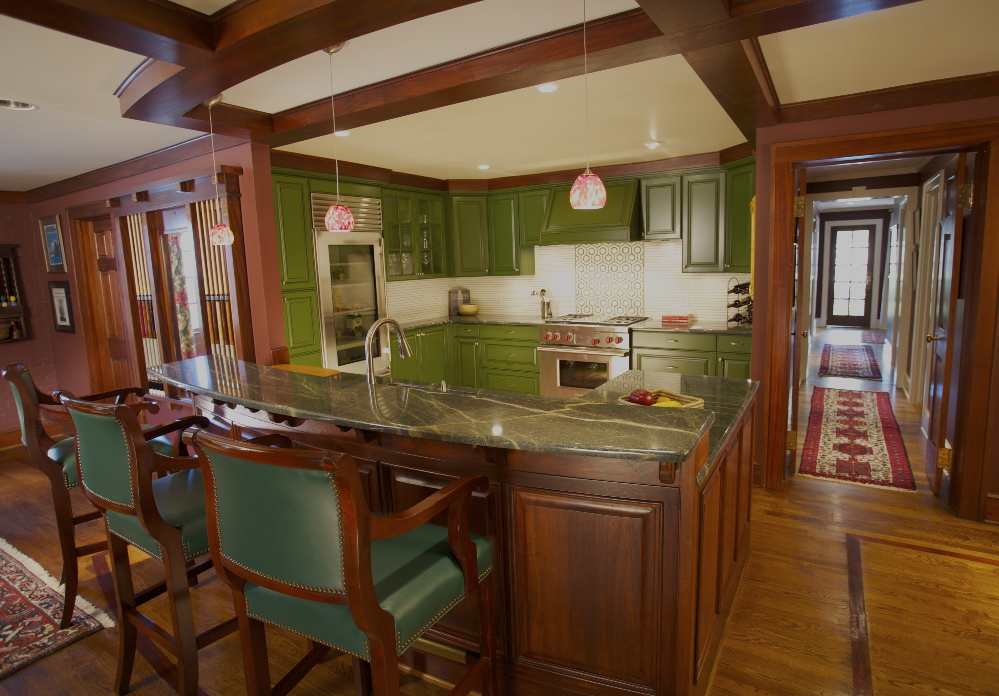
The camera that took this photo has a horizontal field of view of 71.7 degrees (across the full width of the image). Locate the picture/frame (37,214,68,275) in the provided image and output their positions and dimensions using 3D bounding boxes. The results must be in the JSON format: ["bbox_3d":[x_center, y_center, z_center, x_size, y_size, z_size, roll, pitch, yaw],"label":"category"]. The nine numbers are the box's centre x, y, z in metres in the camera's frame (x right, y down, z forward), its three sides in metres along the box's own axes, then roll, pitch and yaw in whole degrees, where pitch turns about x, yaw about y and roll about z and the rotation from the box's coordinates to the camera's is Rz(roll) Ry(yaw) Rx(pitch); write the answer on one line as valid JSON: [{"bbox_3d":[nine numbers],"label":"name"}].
[{"bbox_3d":[-4.425,-1.040,6.796,0.673,0.687,0.064,4,7,30],"label":"picture/frame"}]

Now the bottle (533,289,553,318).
[{"bbox_3d":[0.463,-0.505,7.635,0.287,0.309,0.124,12,16,42],"label":"bottle"}]

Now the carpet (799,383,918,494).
[{"bbox_3d":[3.190,0.816,6.157,0.594,0.019,1.976,1,11,30],"label":"carpet"}]

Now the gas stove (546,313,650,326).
[{"bbox_3d":[0.998,-0.284,6.975,0.959,0.075,0.663,7,11,30],"label":"gas stove"}]

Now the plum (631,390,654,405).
[{"bbox_3d":[0.765,0.260,3.695,0.130,0.065,0.084,3,11,10],"label":"plum"}]

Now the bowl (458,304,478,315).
[{"bbox_3d":[-0.328,-0.424,7.785,0.149,0.114,0.270,11,15,43],"label":"bowl"}]

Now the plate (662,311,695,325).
[{"bbox_3d":[1.730,-0.290,6.748,0.345,0.081,0.445,6,11,28],"label":"plate"}]

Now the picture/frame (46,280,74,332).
[{"bbox_3d":[-4.408,-0.427,6.900,0.442,0.528,0.036,10,15,36],"label":"picture/frame"}]

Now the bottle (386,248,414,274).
[{"bbox_3d":[-1.008,-0.857,6.924,0.250,0.219,0.059,-5,9,-39],"label":"bottle"}]

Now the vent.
[{"bbox_3d":[0.926,-1.343,6.913,0.945,0.532,0.471,3,10,30],"label":"vent"}]
